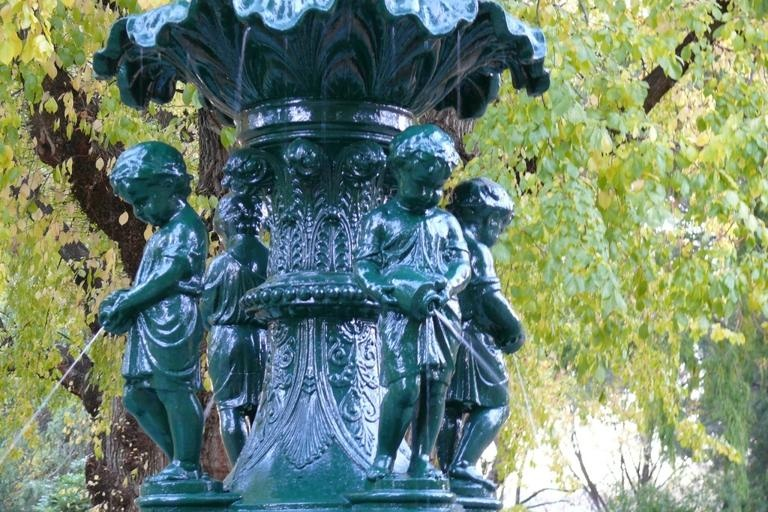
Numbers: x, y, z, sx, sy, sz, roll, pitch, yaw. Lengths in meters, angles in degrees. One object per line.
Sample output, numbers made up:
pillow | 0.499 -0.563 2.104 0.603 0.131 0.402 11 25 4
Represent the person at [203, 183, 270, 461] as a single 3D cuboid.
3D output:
person | -1.435 0.639 18.657 0.621 2.175 1.269 2 -31 -5
